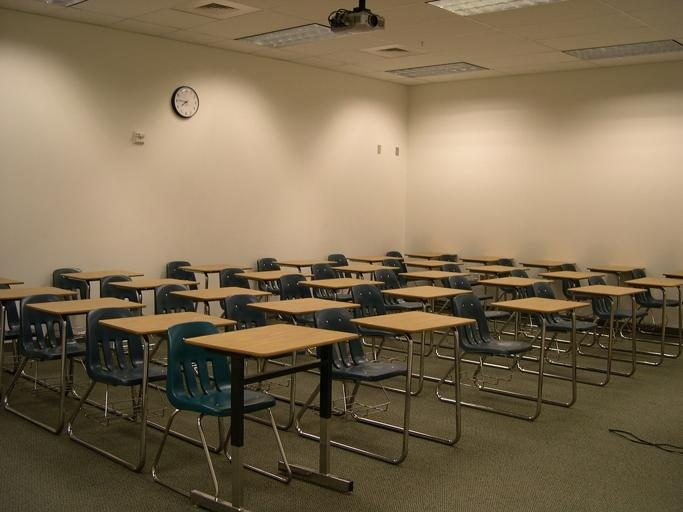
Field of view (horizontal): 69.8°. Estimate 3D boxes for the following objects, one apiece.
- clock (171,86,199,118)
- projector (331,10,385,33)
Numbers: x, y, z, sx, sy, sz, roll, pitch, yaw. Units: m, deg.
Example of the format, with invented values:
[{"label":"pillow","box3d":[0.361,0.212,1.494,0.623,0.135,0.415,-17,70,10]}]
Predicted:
[{"label":"clock","box3d":[-2.524,-2.484,7.897,0.091,0.379,0.424,3,1,43]},{"label":"projector","box3d":[0.144,-2.442,5.133,0.455,0.148,0.340,3,6,36]}]
